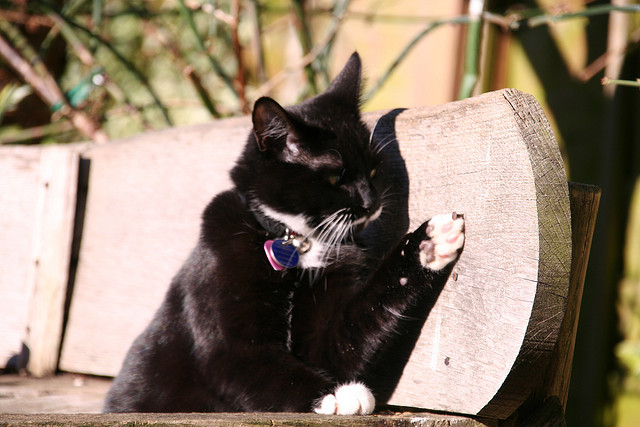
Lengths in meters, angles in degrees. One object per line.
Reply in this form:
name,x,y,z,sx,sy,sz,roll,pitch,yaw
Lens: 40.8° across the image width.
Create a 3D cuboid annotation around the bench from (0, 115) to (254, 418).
bench,-0.796,0.166,3.058,0.989,0.986,0.267,1,-6,6
